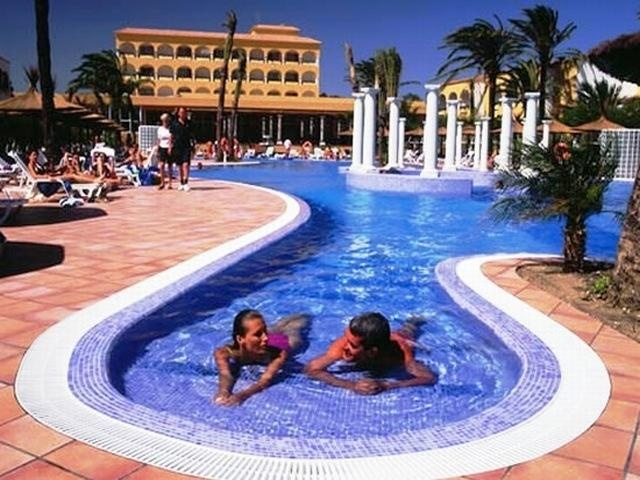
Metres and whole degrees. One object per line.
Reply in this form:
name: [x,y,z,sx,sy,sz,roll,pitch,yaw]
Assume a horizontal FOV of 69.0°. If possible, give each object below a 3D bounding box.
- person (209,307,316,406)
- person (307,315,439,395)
person: [-0.463,0.724,3.578,0.363,0.406,1.033,11,26,22]
person: [0.460,0.734,3.580,0.574,0.354,0.868,2,9,17]
